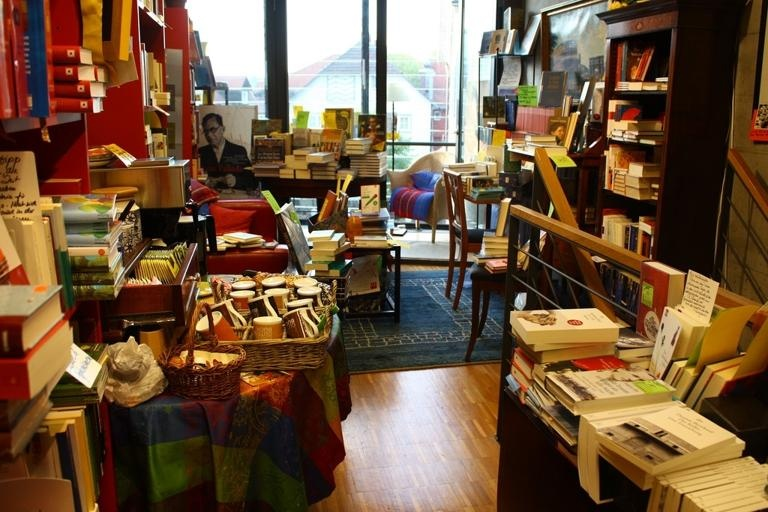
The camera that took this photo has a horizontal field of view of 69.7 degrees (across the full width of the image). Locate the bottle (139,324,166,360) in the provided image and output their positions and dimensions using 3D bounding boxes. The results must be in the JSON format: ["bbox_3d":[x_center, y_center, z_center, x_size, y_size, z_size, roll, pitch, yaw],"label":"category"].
[{"bbox_3d":[-1.023,0.374,2.417,0.111,0.164,0.121,6,9,-1],"label":"bottle"}]

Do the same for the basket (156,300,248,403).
[{"bbox_3d":[-0.734,0.392,2.448,0.291,0.380,0.396,6,10,11],"label":"basket"}]

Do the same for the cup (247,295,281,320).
[{"bbox_3d":[-0.583,0.243,2.666,0.123,0.098,0.102,1,4,33],"label":"cup"}]

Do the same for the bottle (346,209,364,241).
[{"bbox_3d":[-0.281,-0.291,5.209,0.146,0.214,0.306,-3,17,-1],"label":"bottle"}]

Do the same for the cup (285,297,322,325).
[{"bbox_3d":[-0.390,0.252,2.671,0.141,0.132,0.116,-16,15,-11],"label":"cup"}]

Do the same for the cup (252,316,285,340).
[{"bbox_3d":[-0.534,0.330,2.522,0.105,0.081,0.108,0,3,0],"label":"cup"}]

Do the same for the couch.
[{"bbox_3d":[-1.339,-0.221,5.299,0.694,0.446,1.234,-7,18,-15],"label":"couch"}]

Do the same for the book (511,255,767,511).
[{"bbox_3d":[0.780,0.453,1.897,0.700,0.301,0.988,0,14,-2],"label":"book"}]

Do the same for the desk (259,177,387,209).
[{"bbox_3d":[-0.730,-0.777,6.624,1.553,0.430,0.650,2,18,13],"label":"desk"}]

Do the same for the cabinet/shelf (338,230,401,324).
[{"bbox_3d":[-0.113,0.350,5.202,0.663,0.882,0.931,-2,26,-2],"label":"cabinet/shelf"}]

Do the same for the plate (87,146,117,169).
[{"bbox_3d":[-1.405,-0.475,2.699,0.091,0.091,0.201,-1,18,5],"label":"plate"}]

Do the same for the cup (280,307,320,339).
[{"bbox_3d":[-0.370,0.299,2.558,0.169,0.156,0.111,2,7,43],"label":"cup"}]
